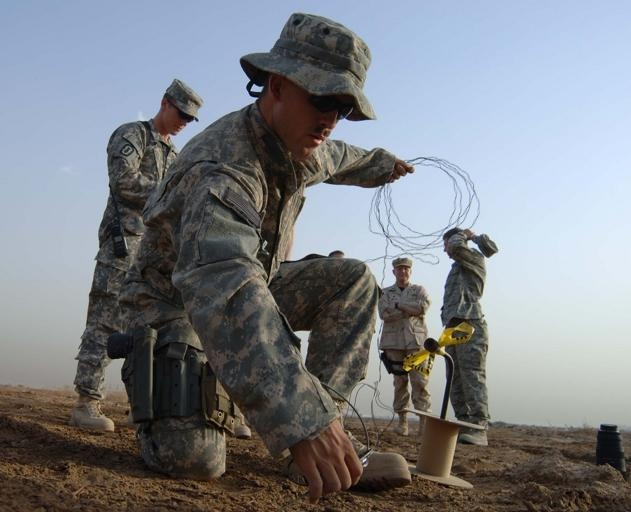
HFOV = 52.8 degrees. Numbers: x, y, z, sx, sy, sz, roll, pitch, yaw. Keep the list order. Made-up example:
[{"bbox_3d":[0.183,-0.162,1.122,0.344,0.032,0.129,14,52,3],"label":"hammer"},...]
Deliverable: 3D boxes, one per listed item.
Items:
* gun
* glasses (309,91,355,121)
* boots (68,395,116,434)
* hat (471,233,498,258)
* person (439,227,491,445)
[{"bbox_3d":[-0.977,0.656,3.438,0.262,0.503,0.161,-8,-12,11],"label":"gun"},{"bbox_3d":[0.086,-0.762,3.225,0.224,0.067,0.120,9,-11,-20],"label":"glasses"},{"bbox_3d":[-1.652,1.181,4.709,0.446,0.233,0.175,1,-14,38],"label":"boots"},{"bbox_3d":[1.684,-0.079,6.350,0.174,0.220,0.095,-14,-36,-37],"label":"hat"},{"bbox_3d":[1.656,0.723,7.010,0.513,2.172,0.638,2,-10,12],"label":"person"}]
